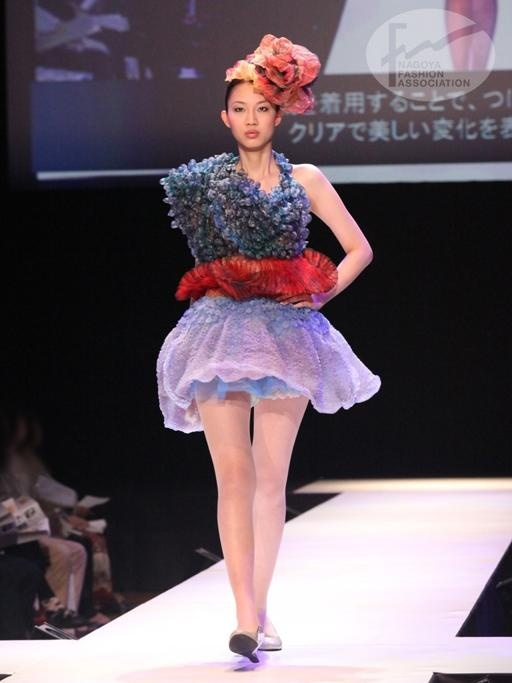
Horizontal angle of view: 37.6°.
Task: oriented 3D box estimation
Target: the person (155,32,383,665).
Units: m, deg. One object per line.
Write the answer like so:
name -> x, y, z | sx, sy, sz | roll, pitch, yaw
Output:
person -> -0.029, -0.010, 1.650 | 0.511, 1.380, 0.582 | 4, 9, 16
